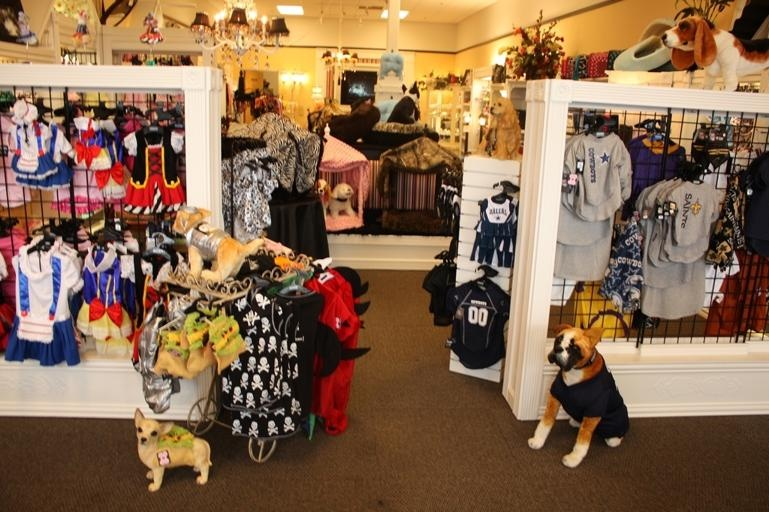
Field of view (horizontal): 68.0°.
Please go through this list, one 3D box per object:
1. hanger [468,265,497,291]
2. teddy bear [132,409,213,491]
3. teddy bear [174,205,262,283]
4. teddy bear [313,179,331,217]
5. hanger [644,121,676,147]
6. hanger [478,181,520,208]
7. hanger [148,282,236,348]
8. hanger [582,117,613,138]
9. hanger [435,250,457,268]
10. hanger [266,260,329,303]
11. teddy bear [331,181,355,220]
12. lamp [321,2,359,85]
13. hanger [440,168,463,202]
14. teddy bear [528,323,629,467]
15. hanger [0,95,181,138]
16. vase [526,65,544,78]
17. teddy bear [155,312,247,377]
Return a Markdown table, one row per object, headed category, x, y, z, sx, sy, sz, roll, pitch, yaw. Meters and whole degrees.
| category | x | y | z | sx | sy | sz | roll | pitch | yaw |
| --- | --- | --- | --- | --- | --- | --- | --- | --- | --- |
| hanger | 0.827 | 0.174 | 4.856 | 0.180 | 0.198 | 0.190 | -17 | 28 | -39 |
| teddy bear | -1.407 | 1.238 | 3.853 | 0.444 | 0.589 | 0.241 | -4 | 13 | -17 |
| teddy bear | -1.097 | -0.111 | 3.863 | 0.683 | 0.501 | 0.333 | 16 | 16 | 15 |
| teddy bear | -0.718 | -0.673 | 6.816 | 0.163 | 0.467 | 0.557 | -2 | 13 | -5 |
| hanger | 2.253 | -0.995 | 4.668 | 0.242 | 0.219 | 0.530 | 6 | 15 | 26 |
| hanger | 0.950 | -0.526 | 4.836 | 0.416 | 0.203 | 0.143 | -2 | 8 | 35 |
| hanger | -1.177 | 0.384 | 3.604 | 0.336 | 0.221 | 0.461 | -9 | 34 | -29 |
| hanger | 1.648 | -1.006 | 4.421 | 0.194 | 0.127 | 0.131 | -16 | 29 | -30 |
| hanger | 0.588 | 0.029 | 5.405 | 0.162 | 0.093 | 0.234 | -2 | -1 | 18 |
| hanger | -0.600 | 0.156 | 3.900 | 0.195 | 0.126 | 0.325 | 1 | 17 | 4 |
| teddy bear | -0.506 | -0.685 | 7.044 | 0.252 | 0.342 | 0.406 | -6 | 24 | -20 |
| lamp | -1.306 | -6.163 | 16.540 | 0.937 | 3.172 | 1.057 | -2 | 39 | -10 |
| hanger | 0.635 | -0.643 | 5.341 | 0.191 | 0.120 | 0.335 | 2 | 34 | 6 |
| teddy bear | 1.405 | 1.067 | 4.207 | 0.762 | 0.964 | 0.510 | -18 | 25 | -28 |
| hanger | -2.269 | -1.063 | 4.400 | 0.656 | 0.314 | 0.139 | 1 | 29 | 2 |
| vase | 2.454 | -2.998 | 9.351 | 0.214 | 0.174 | 0.171 | -5 | 12 | -25 |
| teddy bear | -1.179 | 0.574 | 3.625 | 0.577 | 0.482 | 0.254 | 3 | 12 | 13 |
